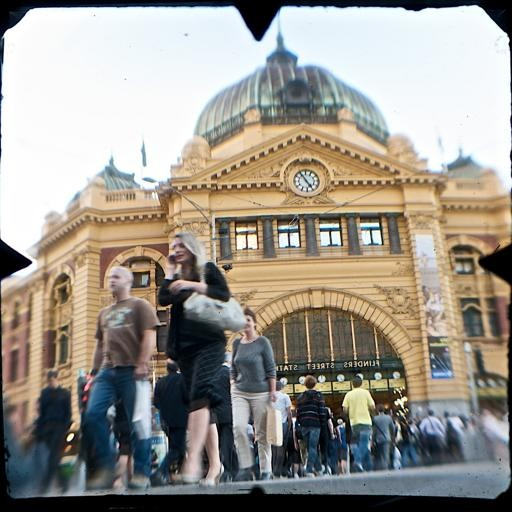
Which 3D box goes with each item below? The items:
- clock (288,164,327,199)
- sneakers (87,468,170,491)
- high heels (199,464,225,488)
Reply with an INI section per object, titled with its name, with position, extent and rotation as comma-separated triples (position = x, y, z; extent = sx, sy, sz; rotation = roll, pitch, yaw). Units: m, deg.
[clock]
position = 2.008, -3.036, 19.850
extent = 1.387, 1.578, 0.140
rotation = 4, -34, -3
[sneakers]
position = -0.737, 1.226, 2.681
extent = 0.160, 0.095, 0.262
rotation = -19, -39, 27
[high heels]
position = -0.264, 1.279, 2.848
extent = 0.085, 0.104, 0.250
rotation = -5, -26, 11
